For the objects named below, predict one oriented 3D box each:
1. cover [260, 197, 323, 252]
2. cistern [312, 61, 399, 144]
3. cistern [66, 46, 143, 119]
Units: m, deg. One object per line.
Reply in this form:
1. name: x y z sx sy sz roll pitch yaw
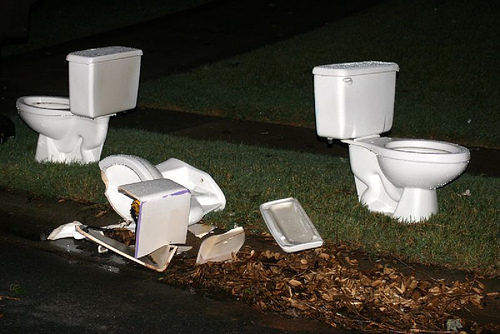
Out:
1. cover: 0.410 0.593 5.153 0.450 0.241 0.803 -8 20 -12
2. cistern: 1.204 -0.749 5.794 1.087 0.808 0.595 -14 18 -43
3. cistern: -1.865 -1.076 6.358 0.559 0.752 0.963 14 22 25
